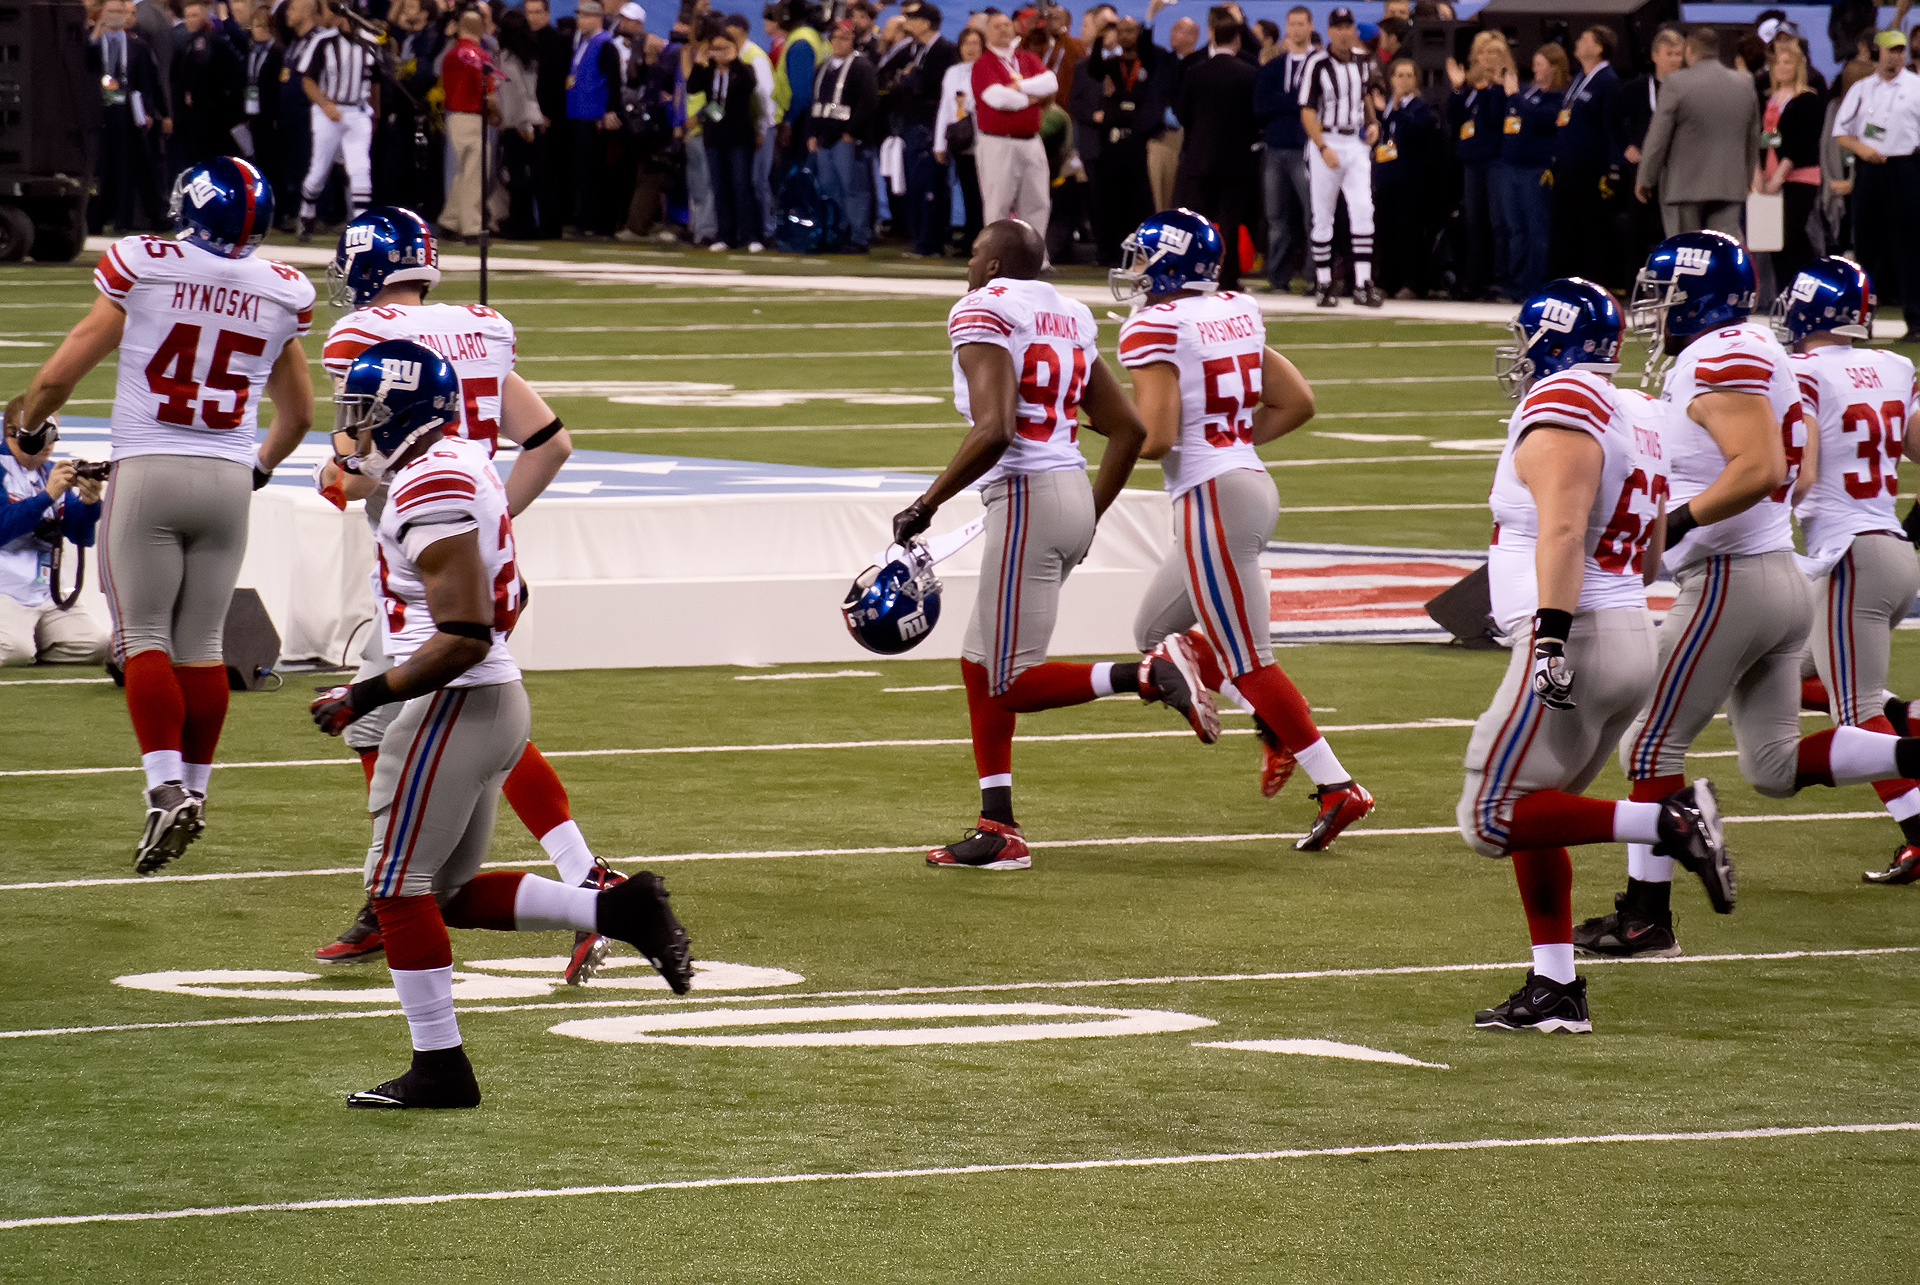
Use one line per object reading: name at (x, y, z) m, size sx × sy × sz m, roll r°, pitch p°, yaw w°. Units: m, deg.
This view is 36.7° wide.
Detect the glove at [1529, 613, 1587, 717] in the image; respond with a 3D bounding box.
glove at (1.596, 0.049, 7.840) m, size 0.084 × 0.228 × 0.163 m, roll 6°, pitch -26°, yaw 14°

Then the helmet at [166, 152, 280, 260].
helmet at (-2.490, -1.477, 9.844) m, size 0.380 × 0.304 × 0.292 m, roll 13°, pitch 16°, yaw 36°

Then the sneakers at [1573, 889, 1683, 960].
sneakers at (2.080, 0.867, 8.991) m, size 0.391 × 0.275 × 0.155 m, roll 3°, pitch 6°, yaw 16°

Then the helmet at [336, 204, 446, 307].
helmet at (-1.847, -1.252, 9.410) m, size 0.385 × 0.305 × 0.287 m, roll 1°, pitch 7°, yaw 30°

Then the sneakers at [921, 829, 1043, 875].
sneakers at (0.100, 0.715, 9.985) m, size 0.365 × 0.157 × 0.138 m, roll 2°, pitch 1°, yaw -8°

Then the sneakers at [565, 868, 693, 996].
sneakers at (-0.830, 0.793, 7.632) m, size 0.296 × 0.212 × 0.610 m, roll 23°, pitch -26°, yaw 4°

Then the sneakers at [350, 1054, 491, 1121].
sneakers at (-1.335, 1.113, 7.341) m, size 0.395 × 0.160 × 0.129 m, roll 4°, pitch -2°, yaw 1°

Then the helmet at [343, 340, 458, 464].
helmet at (-1.375, -0.581, 7.472) m, size 0.373 × 0.348 × 0.314 m, roll 2°, pitch -1°, yaw 7°

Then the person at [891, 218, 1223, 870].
person at (0.263, -0.361, 10.218) m, size 1.078 × 2.175 × 0.531 m, roll -9°, pitch 13°, yaw -44°

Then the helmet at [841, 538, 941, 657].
helmet at (-0.210, -0.164, 10.290) m, size 0.298 × 0.288 × 0.397 m, roll -16°, pitch 25°, yaw 43°

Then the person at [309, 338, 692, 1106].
person at (-1.201, 0.190, 7.481) m, size 0.864 × 1.899 × 0.604 m, roll -2°, pitch 10°, yaw -13°

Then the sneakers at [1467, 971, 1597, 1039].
sneakers at (1.627, 1.024, 8.237) m, size 0.333 × 0.167 × 0.144 m, roll 2°, pitch 2°, yaw 6°

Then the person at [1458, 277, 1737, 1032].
person at (1.750, 0.052, 8.127) m, size 0.692 × 2.073 × 0.660 m, roll -1°, pitch 10°, yaw -9°

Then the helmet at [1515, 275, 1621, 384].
helmet at (1.729, -0.850, 8.217) m, size 0.365 × 0.309 × 0.285 m, roll 2°, pitch 0°, yaw 40°

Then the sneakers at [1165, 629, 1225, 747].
sneakers at (0.869, 0.188, 10.647) m, size 0.172 × 0.426 × 0.159 m, roll -24°, pitch 5°, yaw 14°

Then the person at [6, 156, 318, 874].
person at (-2.536, -0.433, 9.714) m, size 0.873 × 2.302 × 0.967 m, roll -4°, pitch 11°, yaw -26°

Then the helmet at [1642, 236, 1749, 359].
helmet at (2.283, -1.073, 9.067) m, size 0.414 × 0.403 × 0.329 m, roll 4°, pitch 6°, yaw 40°

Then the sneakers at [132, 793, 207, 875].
sneakers at (-2.564, 0.633, 9.508) m, size 0.208 × 0.303 × 0.291 m, roll -2°, pitch 10°, yaw -15°

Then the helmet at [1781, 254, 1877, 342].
helmet at (3.011, -1.184, 10.073) m, size 0.282 × 0.308 × 0.377 m, roll -1°, pitch 10°, yaw -35°

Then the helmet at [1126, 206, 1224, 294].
helmet at (0.800, -1.402, 10.457) m, size 0.417 × 0.316 × 0.316 m, roll 9°, pitch 20°, yaw 14°
